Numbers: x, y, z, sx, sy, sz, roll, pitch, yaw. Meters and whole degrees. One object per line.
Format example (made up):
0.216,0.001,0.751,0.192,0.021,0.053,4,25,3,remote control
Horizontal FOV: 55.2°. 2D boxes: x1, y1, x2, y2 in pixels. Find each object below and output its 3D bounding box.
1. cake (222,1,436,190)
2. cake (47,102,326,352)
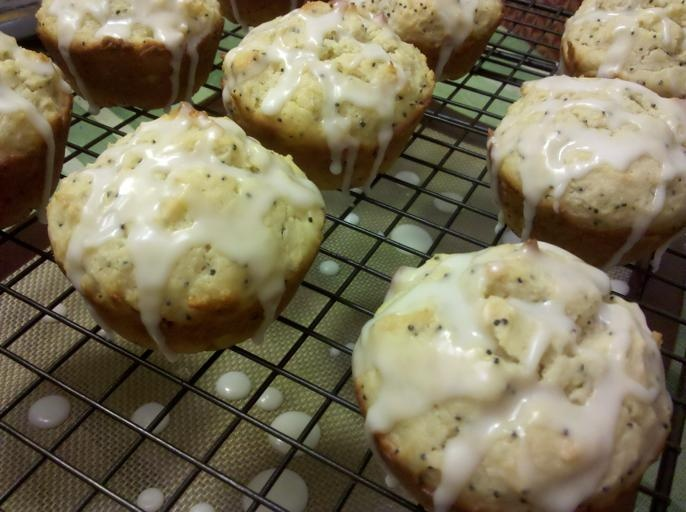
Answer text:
-0.081,-0.514,1.878,0.545,0.296,0.545,45,57,9,cake
-0.388,-0.072,1.610,0.589,0.268,0.607,36,73,13,cake
